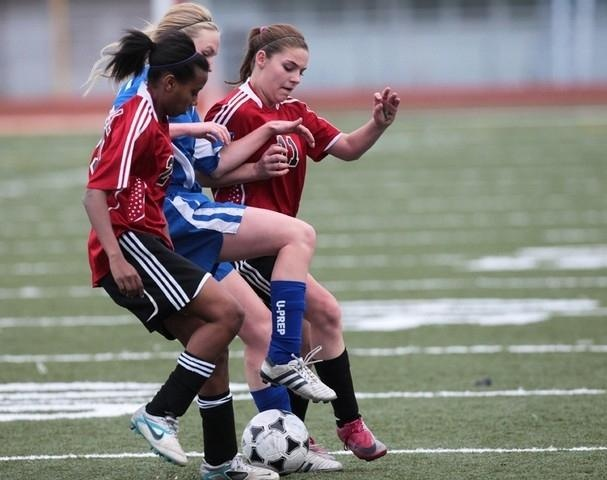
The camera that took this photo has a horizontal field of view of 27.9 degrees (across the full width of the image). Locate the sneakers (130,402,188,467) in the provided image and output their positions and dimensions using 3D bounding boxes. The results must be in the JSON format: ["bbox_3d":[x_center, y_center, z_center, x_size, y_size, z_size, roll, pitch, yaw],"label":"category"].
[{"bbox_3d":[-0.946,1.299,8.355,0.568,0.271,0.191,36,9,35],"label":"sneakers"}]

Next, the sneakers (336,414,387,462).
[{"bbox_3d":[0.408,1.406,8.828,0.235,0.222,0.482,-17,25,-28],"label":"sneakers"}]
